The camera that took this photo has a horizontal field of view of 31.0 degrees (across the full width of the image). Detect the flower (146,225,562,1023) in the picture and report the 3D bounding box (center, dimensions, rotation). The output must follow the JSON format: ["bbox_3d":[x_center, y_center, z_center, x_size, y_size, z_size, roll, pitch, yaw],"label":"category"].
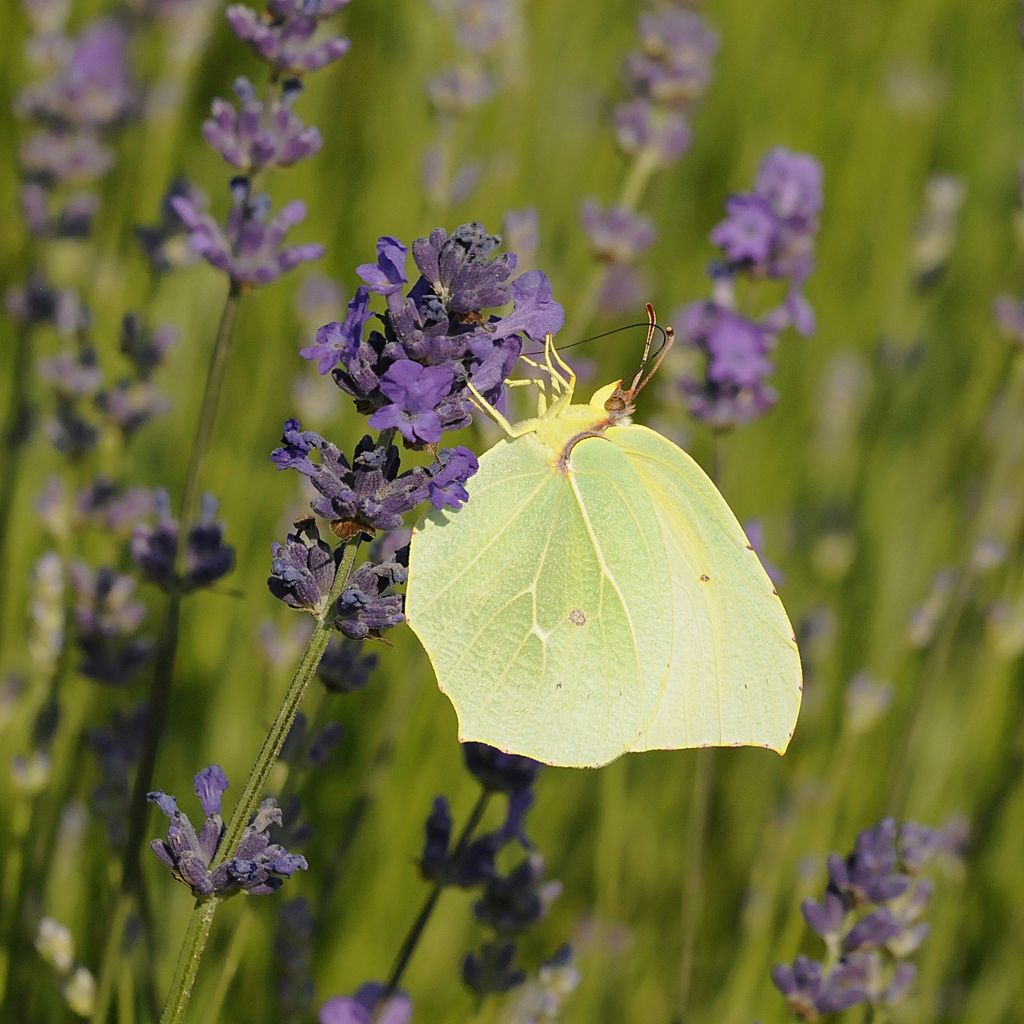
[{"bbox_3d":[-0.264,0.161,3.109,0.371,1.322,0.683,10,6,26],"label":"flower"}]

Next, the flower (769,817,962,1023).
[{"bbox_3d":[0.646,0.733,3.329,0.211,0.477,0.219,36,29,31],"label":"flower"}]
